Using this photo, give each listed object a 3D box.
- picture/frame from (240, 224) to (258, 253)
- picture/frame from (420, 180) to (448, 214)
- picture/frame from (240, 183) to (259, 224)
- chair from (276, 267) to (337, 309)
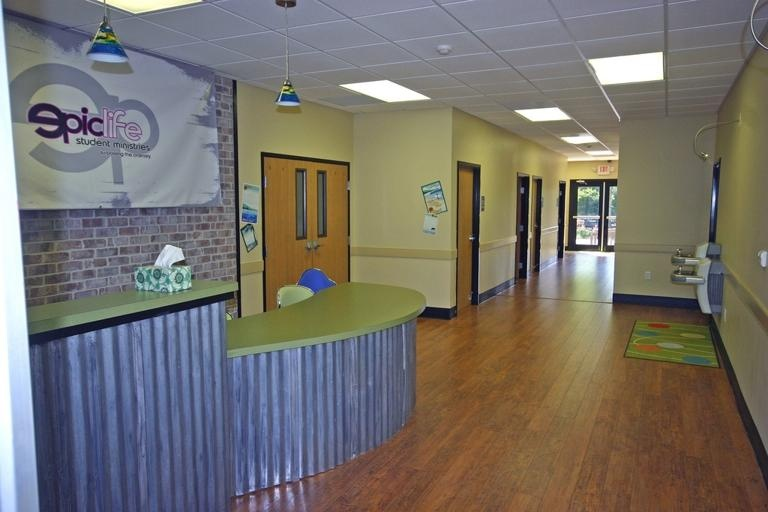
[{"bbox_3d":[-1.740,-0.234,6.396,0.033,0.328,0.288,-8,14,18],"label":"picture/frame"},{"bbox_3d":[0.811,-0.945,7.867,0.440,0.645,0.067,-11,10,34],"label":"picture/frame"},{"bbox_3d":[-1.705,-0.663,6.393,0.062,0.506,0.332,5,12,26],"label":"picture/frame"},{"bbox_3d":[-0.772,0.323,5.028,0.444,0.595,0.451,-3,-16,-2],"label":"chair"}]
